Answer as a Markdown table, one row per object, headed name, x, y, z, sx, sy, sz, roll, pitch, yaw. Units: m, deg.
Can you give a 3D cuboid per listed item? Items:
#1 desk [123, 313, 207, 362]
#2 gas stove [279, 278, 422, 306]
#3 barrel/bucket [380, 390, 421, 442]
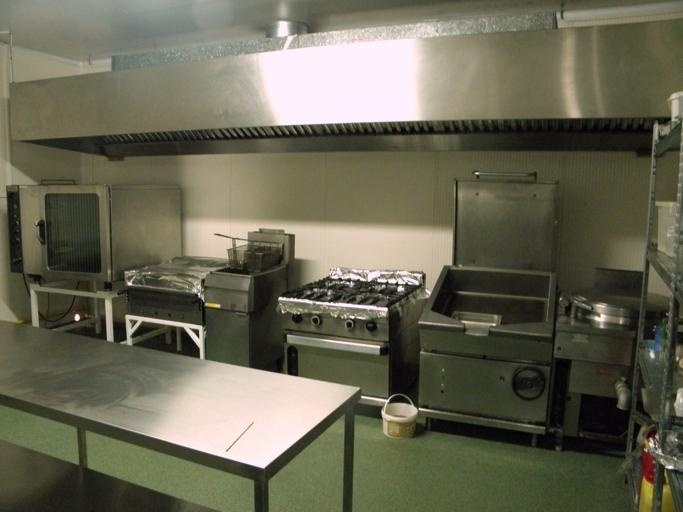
| name | x | y | z | sx | sy | sz | roll | pitch | yaw |
| --- | --- | --- | --- | --- | --- | --- | --- | --- | --- |
| desk | -1.594 | 0.733 | 5.238 | 0.674 | 0.324 | 0.422 | 8 | -3 | -3 |
| gas stove | 0.097 | 0.290 | 4.735 | 0.880 | 0.084 | 0.877 | 9 | 12 | 23 |
| barrel/bucket | 0.417 | 1.186 | 4.296 | 0.307 | 0.303 | 0.303 | 0 | -1 | 0 |
